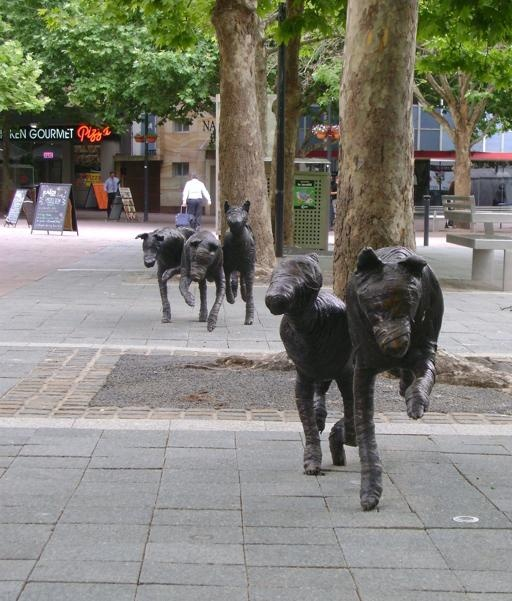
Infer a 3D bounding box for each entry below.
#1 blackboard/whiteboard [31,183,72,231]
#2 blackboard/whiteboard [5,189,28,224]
[{"bbox_3d":[-7.377,-3.290,26.360,1.349,1.761,1.133,2,5,3],"label":"blackboard/whiteboard"},{"bbox_3d":[-9.809,-3.744,29.767,0.775,1.513,1.578,0,5,-17],"label":"blackboard/whiteboard"}]
